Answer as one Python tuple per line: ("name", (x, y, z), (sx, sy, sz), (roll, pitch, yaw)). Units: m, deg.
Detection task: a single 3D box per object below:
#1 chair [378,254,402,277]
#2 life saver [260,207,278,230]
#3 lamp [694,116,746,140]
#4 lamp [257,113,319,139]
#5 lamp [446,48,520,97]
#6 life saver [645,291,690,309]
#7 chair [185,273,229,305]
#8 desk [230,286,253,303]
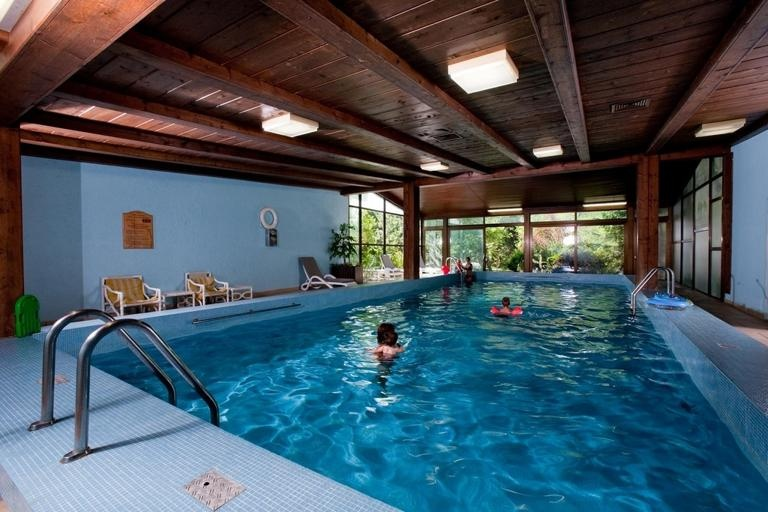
("chair", (0.184, 0.370, 14.952), (0.768, 0.789, 0.727), (-1, 13, -1))
("life saver", (-3.251, -1.091, 11.557), (0.119, 0.626, 0.805), (-3, -6, 35))
("lamp", (5.510, -2.201, 6.908), (0.426, 0.082, 0.467), (-1, -3, 42))
("lamp", (-1.455, -2.089, 6.367), (0.555, 0.263, 0.686), (-11, 15, -43))
("lamp", (1.125, -2.182, 4.821), (0.520, 0.088, 0.430), (-1, 0, -32))
("life saver", (4.386, 0.707, 6.498), (0.470, 0.245, 0.523), (-11, 15, -42))
("chair", (-4.043, 0.772, 9.512), (0.794, 0.562, 0.777), (10, 8, 17))
("desk", (-3.622, 0.960, 10.587), (0.619, 0.356, 0.892), (-1, 0, -25))
